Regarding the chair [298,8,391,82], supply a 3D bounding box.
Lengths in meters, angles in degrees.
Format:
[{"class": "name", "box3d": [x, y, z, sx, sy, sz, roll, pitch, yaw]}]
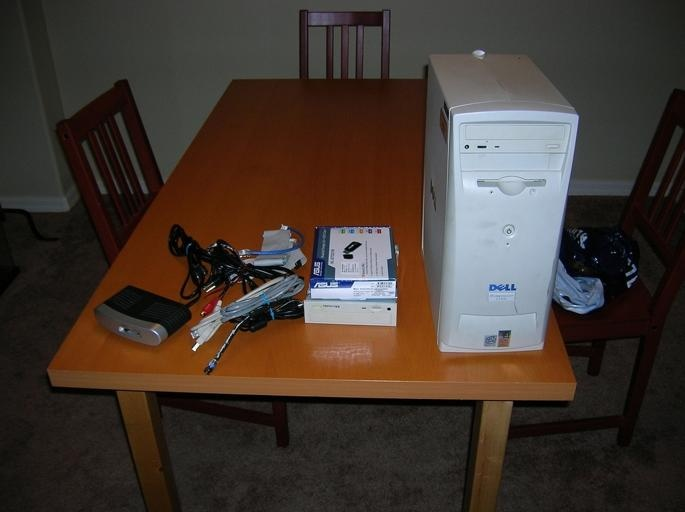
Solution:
[{"class": "chair", "box3d": [0.026, -0.996, 2.643, 0.402, 0.416, 0.631, 0, 34, 5]}]

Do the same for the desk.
[{"class": "desk", "box3d": [-0.067, 0.162, 1.540, 0.804, 0.696, 1.441, 4, 51, 3]}]
